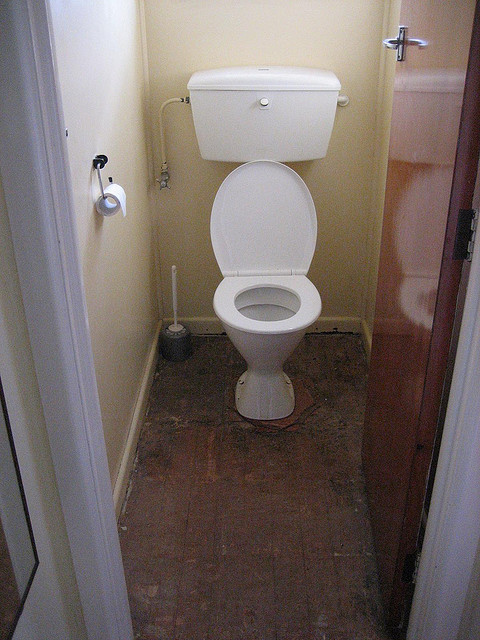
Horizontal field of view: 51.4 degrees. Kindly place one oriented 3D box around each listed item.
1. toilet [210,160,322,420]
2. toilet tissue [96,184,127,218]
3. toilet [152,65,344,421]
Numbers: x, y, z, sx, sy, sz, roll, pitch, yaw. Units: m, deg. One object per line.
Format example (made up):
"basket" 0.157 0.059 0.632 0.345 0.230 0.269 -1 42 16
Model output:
"toilet" 0.091 -0.095 1.920 0.429 0.857 0.508 1 26 3
"toilet tissue" -0.367 -0.341 1.426 0.072 0.076 0.116 -5 31 -6
"toilet" 0.030 -0.345 2.073 0.638 1.287 0.867 -1 38 0
